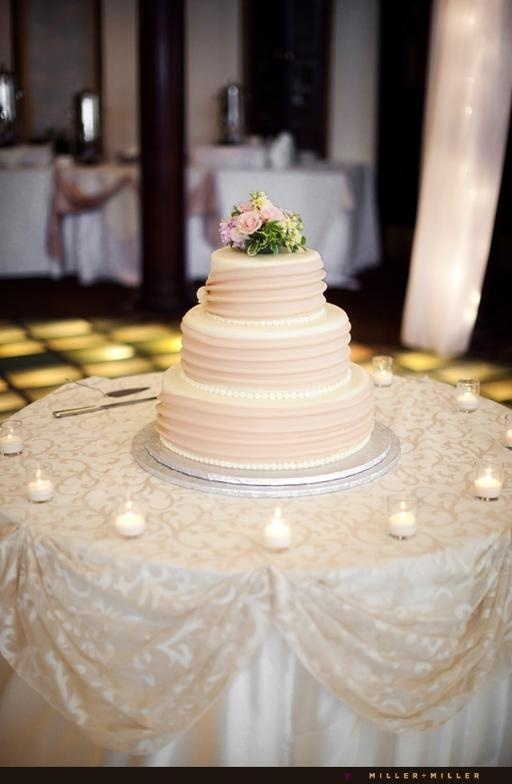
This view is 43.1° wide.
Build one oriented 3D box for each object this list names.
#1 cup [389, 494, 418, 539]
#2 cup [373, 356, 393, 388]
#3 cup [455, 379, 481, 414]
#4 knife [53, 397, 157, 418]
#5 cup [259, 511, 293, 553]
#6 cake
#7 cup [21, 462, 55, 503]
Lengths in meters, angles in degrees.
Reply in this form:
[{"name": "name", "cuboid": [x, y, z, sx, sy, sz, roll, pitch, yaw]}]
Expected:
[{"name": "cup", "cuboid": [0.318, 0.274, 1.444, 0.076, 0.085, 0.078, -1, 7, 0]}, {"name": "cup", "cuboid": [0.530, -0.083, 2.644, 0.114, 0.126, 0.116, 0, 10, 0]}, {"name": "cup", "cuboid": [0.789, 0.020, 2.398, 0.108, 0.118, 0.108, -1, 10, 0]}, {"name": "knife", "cuboid": [-0.549, 0.060, 2.365, 0.428, 0.023, 0.058, -2, 32, -33]}, {"name": "cup", "cuboid": [0.045, 0.296, 1.356, 0.059, 0.098, 0.057, 1, 21, 0]}, {"name": "cake", "cuboid": [0.018, -0.073, 1.800, 0.596, 0.493, 0.577, 1, 24, 4]}, {"name": "cup", "cuboid": [-0.555, 0.225, 1.630, 0.082, 0.087, 0.086, 1, 7, 0]}]
